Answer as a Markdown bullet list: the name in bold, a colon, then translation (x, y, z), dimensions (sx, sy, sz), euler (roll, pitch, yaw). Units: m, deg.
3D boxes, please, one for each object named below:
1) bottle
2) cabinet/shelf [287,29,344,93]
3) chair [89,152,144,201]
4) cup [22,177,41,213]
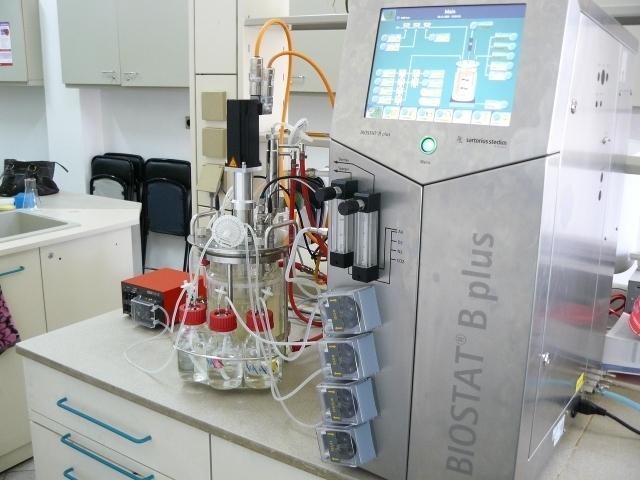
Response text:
- **bottle**: translation (-0.220, 0.263, 1.291), dimensions (0.239, 0.189, 0.181), euler (13, 15, 23)
- **cabinet/shelf**: translation (-0.001, -0.754, 2.122), dimensions (0.116, 0.253, 0.332), euler (-10, 18, -38)
- **chair**: translation (-1.703, -0.526, 4.269), dimensions (0.327, 0.515, 0.267), euler (9, 21, 19)
- **cup**: translation (-1.819, -0.291, 3.167), dimensions (0.084, 0.179, 0.160), euler (-7, 16, -30)
